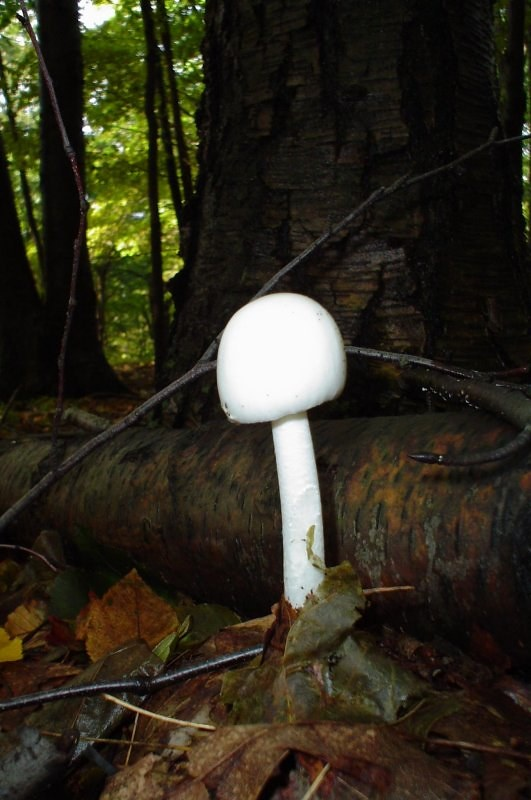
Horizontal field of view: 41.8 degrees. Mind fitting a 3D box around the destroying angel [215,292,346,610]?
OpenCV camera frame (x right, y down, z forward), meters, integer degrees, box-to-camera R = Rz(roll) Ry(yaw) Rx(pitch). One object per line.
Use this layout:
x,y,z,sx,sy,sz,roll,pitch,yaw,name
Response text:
0.061,0.144,2.034,0.368,0.895,0.245,-4,11,-4,destroying angel
